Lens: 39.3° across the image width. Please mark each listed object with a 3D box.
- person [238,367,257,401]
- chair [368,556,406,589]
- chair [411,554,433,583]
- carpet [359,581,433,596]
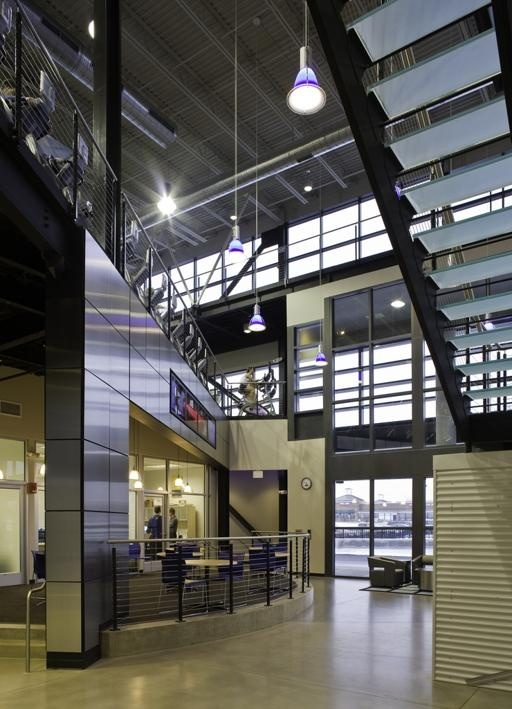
[{"bbox_3d":[-0.208,0.685,16.511,0.406,0.743,0.735,2,-10,-1],"label":"person"},{"bbox_3d":[2.292,3.818,12.595,0.516,0.512,0.525,-8,-15,28],"label":"chair"},{"bbox_3d":[2.836,3.702,12.326,0.336,0.468,0.832,-1,-11,12],"label":"chair"},{"bbox_3d":[2.274,3.910,11.861,1.158,0.098,1.273,0,-11,10],"label":"carpet"}]
